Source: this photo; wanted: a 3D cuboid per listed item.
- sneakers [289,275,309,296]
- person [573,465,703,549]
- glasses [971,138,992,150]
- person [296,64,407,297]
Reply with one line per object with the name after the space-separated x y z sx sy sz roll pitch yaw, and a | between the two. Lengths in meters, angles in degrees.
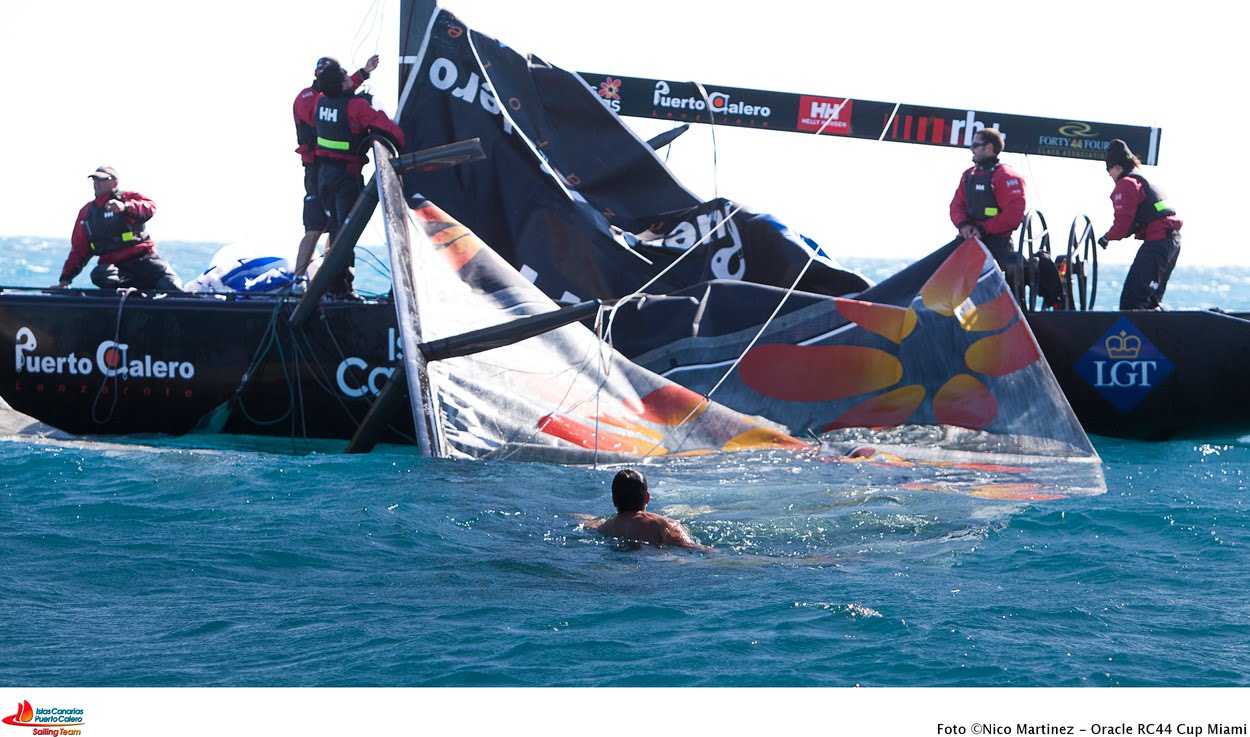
-3.924 -1.010 18.578 0.200 0.217 0.552 -2 2 -8 | sneakers
-0.045 1.333 14.386 1.665 0.690 0.441 7 5 -25 | person
4.275 -2.708 18.598 0.170 0.048 0.150 10 -1 -4 | glasses
-3.447 -2.316 18.598 0.816 2.598 1.392 3 1 -42 | person
